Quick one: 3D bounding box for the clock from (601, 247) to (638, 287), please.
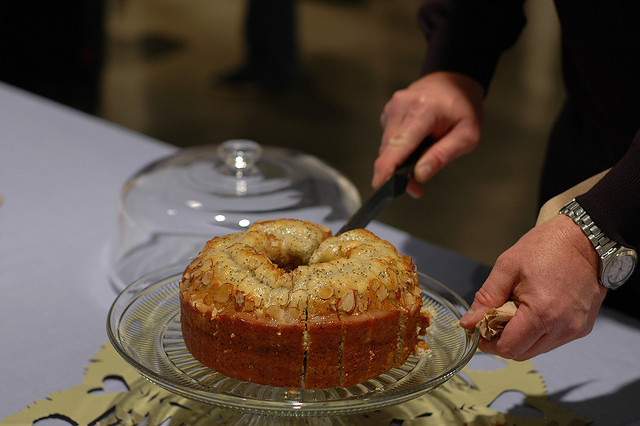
[{"bbox_3d":[0.658,0.116,1.470,0.083,0.092,0.028,5,17,-27],"label":"clock"}]

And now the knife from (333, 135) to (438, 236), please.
[{"bbox_3d":[0.227,-0.086,2.141,0.031,0.066,0.585,4,48,50],"label":"knife"}]

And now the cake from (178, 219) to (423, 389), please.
[{"bbox_3d":[-0.046,0.183,1.469,0.531,0.191,0.363,-3,45,-7],"label":"cake"}]
